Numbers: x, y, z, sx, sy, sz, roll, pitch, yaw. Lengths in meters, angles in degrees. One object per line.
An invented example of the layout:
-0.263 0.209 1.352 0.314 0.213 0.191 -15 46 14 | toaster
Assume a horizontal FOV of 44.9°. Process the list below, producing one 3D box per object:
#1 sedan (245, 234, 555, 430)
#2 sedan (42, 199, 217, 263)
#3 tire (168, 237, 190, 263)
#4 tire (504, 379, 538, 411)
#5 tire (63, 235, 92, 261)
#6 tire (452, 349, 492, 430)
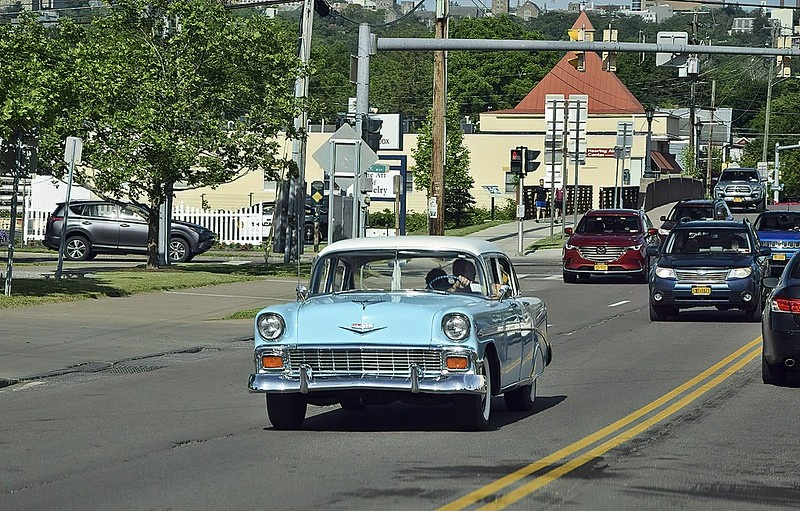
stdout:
-0.025 1.012 12.419 3.758 2.415 2.212 0 5 -6 | sedan
-10.919 -1.058 39.356 6.663 2.225 2.720 1 10 2 | sedan
-8.810 -0.227 38.207 0.938 0.896 0.302 7 2 -4 | tire
1.618 1.894 13.189 0.219 0.522 0.545 1 -7 32 | tire
-12.659 -0.284 37.712 0.742 0.736 0.240 -33 14 6 | tire
0.895 1.720 11.954 0.457 0.973 0.694 0 5 4 | tire
